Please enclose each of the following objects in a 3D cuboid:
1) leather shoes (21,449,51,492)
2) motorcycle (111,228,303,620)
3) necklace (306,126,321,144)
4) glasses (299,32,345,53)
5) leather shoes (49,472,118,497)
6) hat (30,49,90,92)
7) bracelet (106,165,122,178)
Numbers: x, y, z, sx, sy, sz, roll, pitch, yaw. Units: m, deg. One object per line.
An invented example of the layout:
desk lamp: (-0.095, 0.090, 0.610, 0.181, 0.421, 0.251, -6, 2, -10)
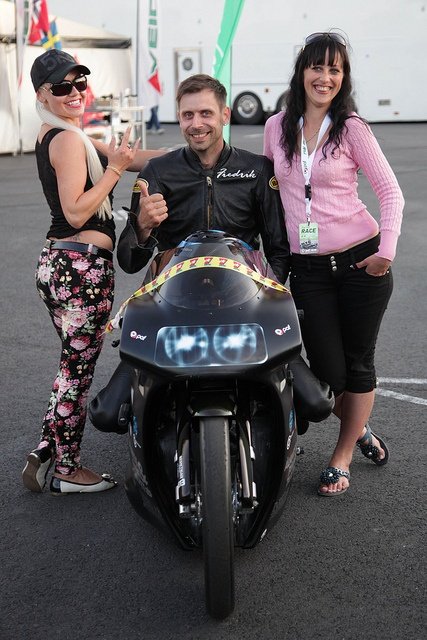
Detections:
leather shoes: (-0.784, 0.665, 2.435, 0.089, 0.236, 0.100, 10, 29, 2)
motorcycle: (-0.009, 0.188, 1.631, 0.463, 0.705, 1.321, -2, 14, 4)
necklace: (0.396, -0.727, 2.173, 0.004, 0.084, 0.023, 34, -8, -19)
glasses: (0.428, -1.091, 2.132, 0.167, 0.088, 0.119, 0, 9, 15)
leather shoes: (-0.582, 0.730, 2.461, 0.298, 0.117, 0.109, -2, 0, -16)
hat: (-0.616, -0.921, 2.107, 0.218, 0.112, 0.154, -9, 26, 43)
bracelet: (-0.378, -0.564, 2.061, 0.051, 0.014, 0.051, 29, -5, 40)
